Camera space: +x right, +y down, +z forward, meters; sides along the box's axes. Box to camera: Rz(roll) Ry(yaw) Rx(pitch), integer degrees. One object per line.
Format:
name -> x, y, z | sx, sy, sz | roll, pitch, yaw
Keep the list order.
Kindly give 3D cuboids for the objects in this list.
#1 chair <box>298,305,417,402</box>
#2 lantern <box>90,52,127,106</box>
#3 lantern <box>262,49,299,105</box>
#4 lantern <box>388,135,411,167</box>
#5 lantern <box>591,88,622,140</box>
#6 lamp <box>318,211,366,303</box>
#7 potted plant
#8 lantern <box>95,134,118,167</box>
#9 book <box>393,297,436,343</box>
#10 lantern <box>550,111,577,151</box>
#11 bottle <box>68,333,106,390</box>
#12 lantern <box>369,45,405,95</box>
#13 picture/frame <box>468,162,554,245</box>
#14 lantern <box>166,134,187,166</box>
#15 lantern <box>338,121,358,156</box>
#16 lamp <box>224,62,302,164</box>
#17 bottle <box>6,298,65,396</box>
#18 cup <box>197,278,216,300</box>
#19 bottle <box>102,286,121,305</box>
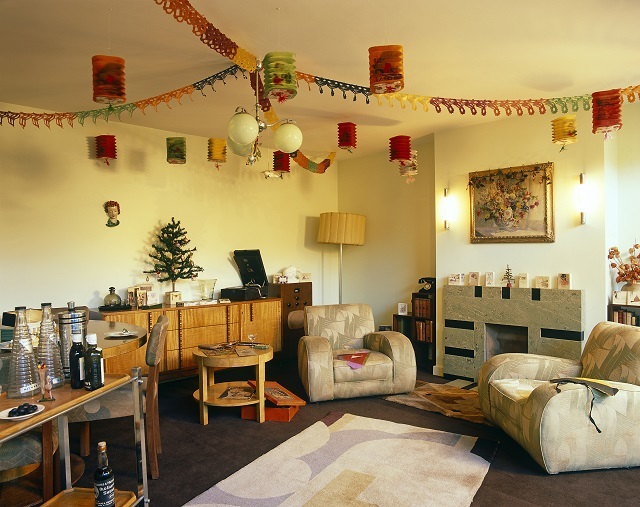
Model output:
chair -> 0.325, 1.059, 5.227 | 1.185, 0.743, 1.065 | 0, -4, -14
lantern -> -1.581, -1.303, 3.691 | 0.233, 0.346, 0.172 | -4, 10, -22
lantern -> -0.302, -1.329, 3.701 | 0.235, 0.334, 0.248 | -2, 9, -8
lantern -> 0.913, -1.132, 5.335 | 0.306, 0.249, 0.152 | -7, 11, -40
lantern -> 2.371, -1.176, 4.069 | 0.209, 0.316, 0.108 | 2, 10, 18
lamp -> 0.354, 0.106, 7.741 | 0.755, 1.495, 0.742 | 0, 9, 0
potted plant -> -1.806, 0.014, 6.236 | 0.476, 0.927, 0.714 | 6, 11, 35
lantern -> -2.376, -1.134, 5.455 | 0.188, 0.281, 0.679 | -5, 9, -25
book -> 1.258, 0.886, 6.453 | 0.228, 0.571, 0.664 | 5, -6, -30
lantern -> 2.300, -1.165, 4.646 | 0.180, 0.239, 0.135 | 0, 9, 0
bottle -> -1.349, 0.600, 2.839 | 0.190, 0.301, 0.264 | -5, 10, -24
lantern -> 0.492, -1.373, 3.658 | 0.245, 0.334, 0.258 | 0, 9, 3
picture/frame -> 2.252, -0.578, 5.690 | 1.176, 1.009, 0.170 | 0, 1, 34
lantern -> -1.525, -1.102, 5.271 | 0.172, 0.274, 0.293 | -2, 9, -10
lantern -> 0.295, -1.215, 5.143 | 0.162, 0.310, 0.305 | 1, 9, 8
lamp -> -0.541, -1.109, 3.804 | 0.519, 0.626, 0.415 | -15, 32, -18
bottle -> -1.585, 0.520, 2.748 | 0.246, 0.452, 0.337 | -1, 9, -2
cup -> -1.485, 0.473, 6.466 | 0.264, 0.241, 0.265 | 1, 2, 0
bottle -> -2.345, 0.490, 5.664 | 0.223, 0.251, 0.205 | 0, 1, 10
